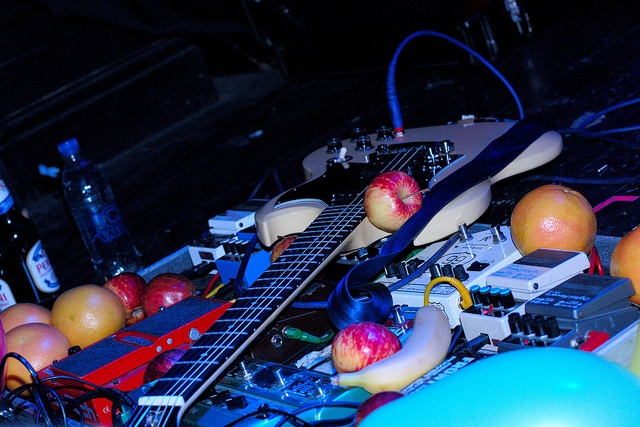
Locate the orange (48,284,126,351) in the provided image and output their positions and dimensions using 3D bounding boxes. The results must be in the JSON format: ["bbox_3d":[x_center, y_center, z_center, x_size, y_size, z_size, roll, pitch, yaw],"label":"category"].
[{"bbox_3d":[-0.608,0.268,1.330,0.179,0.179,0.173,-10,2,39],"label":"orange"}]

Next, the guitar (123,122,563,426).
[{"bbox_3d":[0.126,0.198,1.306,0.493,0.139,1.175,-10,21,44],"label":"guitar"}]

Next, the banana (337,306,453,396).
[{"bbox_3d":[0.156,0.249,0.927,0.141,0.074,0.264,6,23,42],"label":"banana"}]

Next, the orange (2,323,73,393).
[{"bbox_3d":[-0.658,0.323,1.202,0.146,0.140,0.144,-6,-12,-32],"label":"orange"}]

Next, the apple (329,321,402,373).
[{"bbox_3d":[0.085,0.257,0.954,0.130,0.100,0.128,-7,-26,18],"label":"apple"}]

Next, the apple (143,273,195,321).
[{"bbox_3d":[-0.390,0.221,1.412,0.113,0.120,0.117,8,-30,6],"label":"apple"}]

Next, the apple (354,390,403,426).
[{"bbox_3d":[0.086,0.278,0.745,0.072,0.041,0.049,-4,-21,2],"label":"apple"}]

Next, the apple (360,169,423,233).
[{"bbox_3d":[0.178,-0.028,1.302,0.141,0.136,0.165,4,-23,-19],"label":"apple"}]
